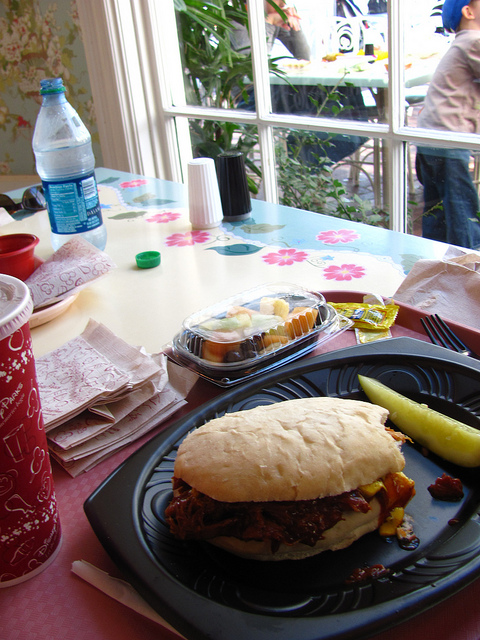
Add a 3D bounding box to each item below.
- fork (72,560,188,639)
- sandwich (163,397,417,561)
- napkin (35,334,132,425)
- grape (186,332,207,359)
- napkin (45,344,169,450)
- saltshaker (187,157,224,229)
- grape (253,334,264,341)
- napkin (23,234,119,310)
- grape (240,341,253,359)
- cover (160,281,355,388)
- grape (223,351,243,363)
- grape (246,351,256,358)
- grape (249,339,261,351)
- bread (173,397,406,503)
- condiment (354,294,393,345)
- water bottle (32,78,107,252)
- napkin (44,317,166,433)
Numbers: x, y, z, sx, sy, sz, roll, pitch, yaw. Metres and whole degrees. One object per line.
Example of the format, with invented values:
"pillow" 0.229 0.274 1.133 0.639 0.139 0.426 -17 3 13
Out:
"fork" -0.085 0.192 0.354 0.120 0.013 0.014 7 21 40
"sandwich" 0.038 0.125 0.437 0.218 0.087 0.174 -11 11 -31
"napkin" -0.170 0.055 0.596 0.118 0.066 0.137 -14 24 -31
"grape" -0.055 0.029 0.626 0.027 0.013 0.031 -1 38 6
"napkin" -0.152 0.077 0.543 0.102 0.064 0.094 6 24 27
"saltshaker" -0.086 -0.288 1.171 0.074 0.154 0.051 -9 17 -3
"grape" 0.023 0.021 0.623 0.009 0.009 0.009 -6 9 -21
"napkin" -0.309 -0.095 0.897 0.174 0.041 0.191 -35 36 -7
"grape" 0.012 0.036 0.608 0.016 0.007 0.017 0 50 0
"cover" 0.031 0.004 0.654 0.188 0.052 0.140 -25 29 -29
"grape" -0.009 0.044 0.599 0.021 0.012 0.008 -8 16 -6
"grape" 0.014 0.041 0.607 0.008 0.003 0.008 2 26 9
"grape" 0.021 0.031 0.616 0.012 0.005 0.013 -5 42 -7
"bread" 0.044 0.103 0.424 0.195 0.046 0.139 -8 12 -41
"condiment" 0.184 -0.004 0.698 0.049 0.038 0.131 -3 15 13
"water bottle" -0.375 -0.315 1.094 0.136 0.372 0.127 -2 27 1
"napkin" -0.154 0.050 0.617 0.143 0.092 0.147 -12 22 -30
